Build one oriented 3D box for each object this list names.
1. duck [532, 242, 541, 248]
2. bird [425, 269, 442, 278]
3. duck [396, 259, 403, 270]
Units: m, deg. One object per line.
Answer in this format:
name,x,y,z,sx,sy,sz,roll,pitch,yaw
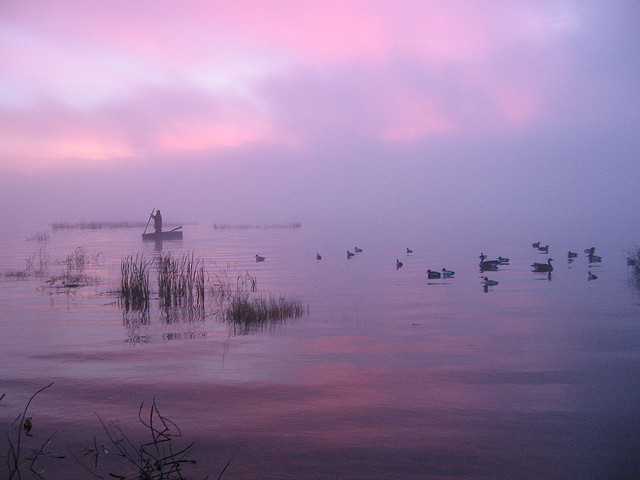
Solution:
duck,15.233,0.326,66.056,0.743,0.431,0.455,0,5,9
bird,5.267,1.533,43.395,0.657,0.371,0.341,6,-3,10
duck,4.339,1.340,51.174,0.512,0.500,0.959,-1,-3,12
